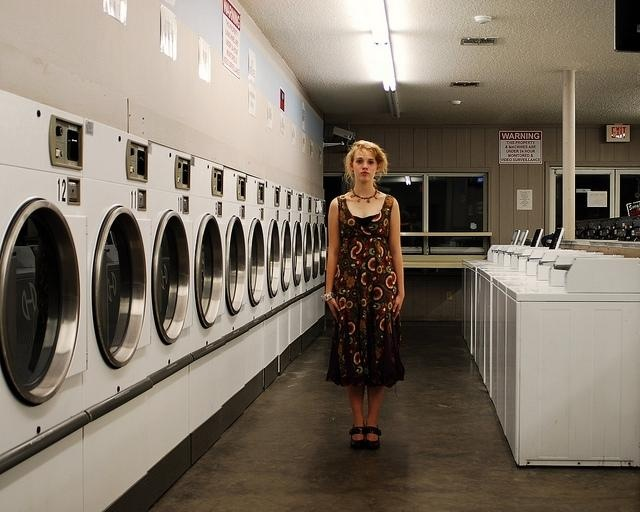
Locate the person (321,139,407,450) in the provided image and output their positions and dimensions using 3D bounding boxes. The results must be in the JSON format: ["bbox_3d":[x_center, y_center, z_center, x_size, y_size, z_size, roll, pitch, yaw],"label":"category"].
[{"bbox_3d":[0.286,0.255,3.189,0.489,1.964,0.276,0,1,10],"label":"person"}]

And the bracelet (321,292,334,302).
[{"bbox_3d":[0.042,0.260,3.172,0.062,0.053,0.076,0,-19,5],"label":"bracelet"}]
